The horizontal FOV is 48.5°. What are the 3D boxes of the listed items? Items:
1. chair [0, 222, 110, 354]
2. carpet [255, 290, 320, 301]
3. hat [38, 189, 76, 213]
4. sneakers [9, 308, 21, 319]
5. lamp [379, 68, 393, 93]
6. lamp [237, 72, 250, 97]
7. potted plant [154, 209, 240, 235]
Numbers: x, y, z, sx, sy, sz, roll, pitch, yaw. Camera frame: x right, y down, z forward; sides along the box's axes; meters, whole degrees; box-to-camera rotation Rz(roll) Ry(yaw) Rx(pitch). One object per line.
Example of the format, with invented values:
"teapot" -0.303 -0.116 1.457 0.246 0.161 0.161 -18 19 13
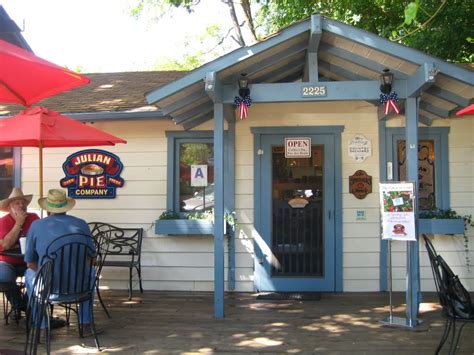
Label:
"chair" -2.333 1.363 7.023 0.908 1.740 0.660 -3 11 -15
"carpet" 0.876 1.983 8.766 1.073 0.039 0.400 0 9 2
"hat" -2.493 0.328 7.146 0.398 0.132 0.420 -8 27 -39
"sneakers" -3.261 2.008 7.761 0.139 0.123 0.222 5 -3 -29
"lamp" 2.200 -1.376 7.737 0.180 0.356 0.160 3 11 20
"lamp" 0.091 -1.355 7.944 0.223 0.362 0.174 8 14 39
"potted plant" -0.756 0.832 9.135 1.438 0.444 0.430 0 10 3
